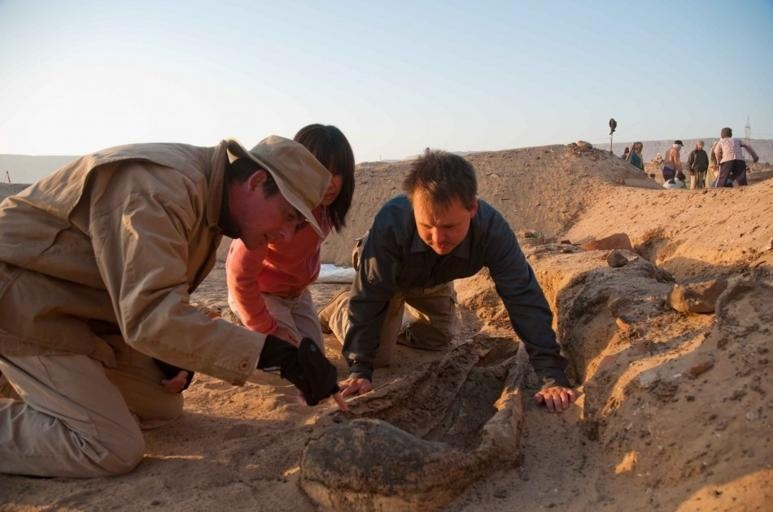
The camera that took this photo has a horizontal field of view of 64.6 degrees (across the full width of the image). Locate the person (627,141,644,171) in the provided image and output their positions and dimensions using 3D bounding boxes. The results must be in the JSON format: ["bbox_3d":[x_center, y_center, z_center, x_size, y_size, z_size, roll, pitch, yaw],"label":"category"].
[{"bbox_3d":[5.746,-2.304,14.096,0.323,0.689,1.314,1,14,21],"label":"person"}]

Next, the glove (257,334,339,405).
[{"bbox_3d":[-0.443,0.601,3.173,0.347,0.394,0.166,3,40,17],"label":"glove"}]

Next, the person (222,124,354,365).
[{"bbox_3d":[-0.621,-0.026,3.839,0.631,0.575,1.485,24,-29,-8],"label":"person"}]

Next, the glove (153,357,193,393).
[{"bbox_3d":[-1.333,0.749,3.819,0.180,0.242,0.113,21,13,24],"label":"glove"}]

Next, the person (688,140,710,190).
[{"bbox_3d":[5.870,-1.643,11.486,0.364,0.887,1.523,3,15,27],"label":"person"}]
